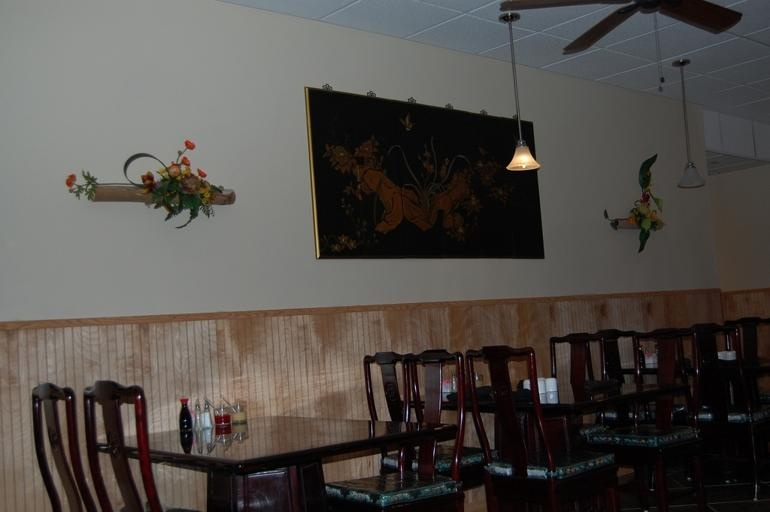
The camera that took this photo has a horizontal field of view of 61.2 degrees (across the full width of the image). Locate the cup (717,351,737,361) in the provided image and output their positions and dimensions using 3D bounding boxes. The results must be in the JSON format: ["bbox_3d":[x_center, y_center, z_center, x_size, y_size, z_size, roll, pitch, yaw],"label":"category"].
[{"bbox_3d":[3.068,0.889,5.834,0.154,0.097,0.155,0,-1,0],"label":"cup"}]

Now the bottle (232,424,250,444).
[{"bbox_3d":[-0.907,1.113,4.081,0.088,0.107,0.091,-1,-5,16],"label":"bottle"}]

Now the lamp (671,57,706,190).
[{"bbox_3d":[3.331,-1.446,7.176,0.282,1.363,0.277,-5,6,32],"label":"lamp"}]

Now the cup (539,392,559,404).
[{"bbox_3d":[1.177,1.011,4.647,0.107,0.065,0.066,0,-7,-3],"label":"cup"}]

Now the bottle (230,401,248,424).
[{"bbox_3d":[-0.996,1.078,4.476,0.118,0.138,0.118,3,-8,-29],"label":"bottle"}]

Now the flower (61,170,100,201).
[{"bbox_3d":[-2.124,-0.500,4.535,0.196,0.208,0.101,4,-1,-10],"label":"flower"}]

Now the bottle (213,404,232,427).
[{"bbox_3d":[-1.094,1.071,4.389,0.112,0.129,0.116,0,-2,3],"label":"bottle"}]

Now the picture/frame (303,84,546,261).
[{"bbox_3d":[0.392,-0.713,5.984,2.326,1.549,0.036,-3,-4,-29],"label":"picture/frame"}]

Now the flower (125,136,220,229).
[{"bbox_3d":[-1.632,-0.583,4.828,0.547,0.254,0.534,19,-1,27],"label":"flower"}]
